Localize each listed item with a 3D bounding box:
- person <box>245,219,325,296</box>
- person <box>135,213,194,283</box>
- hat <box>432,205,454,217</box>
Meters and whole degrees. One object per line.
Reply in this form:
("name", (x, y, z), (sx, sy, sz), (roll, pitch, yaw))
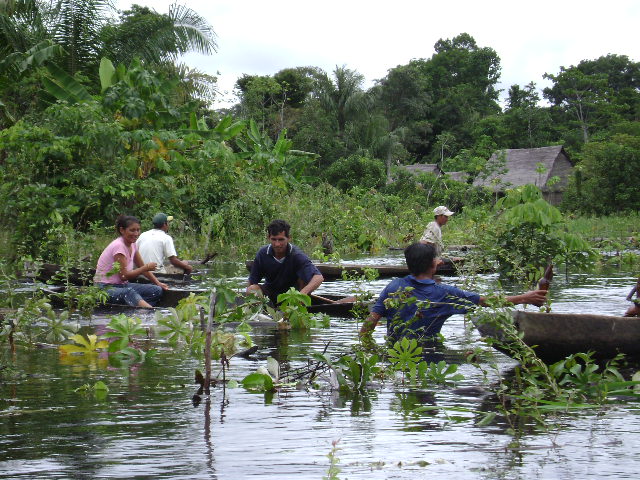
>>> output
("person", (-0.412, 0.262, 8.614), (0.886, 0.978, 0.688), (-1, -1, 31))
("person", (-2.575, 0.151, 12.305), (0.950, 1.293, 0.796), (20, 28, 22))
("hat", (2.292, -0.511, 13.091), (0.520, 0.260, 0.339), (-1, 5, -4))
